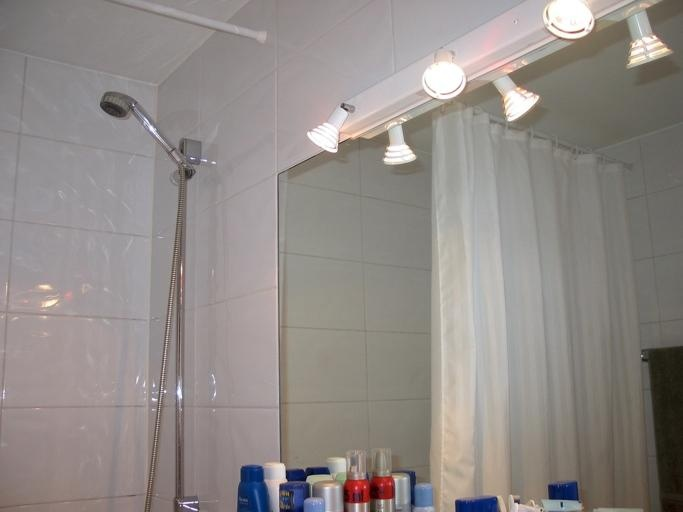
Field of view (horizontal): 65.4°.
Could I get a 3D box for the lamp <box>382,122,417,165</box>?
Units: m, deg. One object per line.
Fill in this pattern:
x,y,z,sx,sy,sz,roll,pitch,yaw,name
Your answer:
0.157,-0.312,1.499,0.103,0.124,0.104,-8,7,-29,lamp

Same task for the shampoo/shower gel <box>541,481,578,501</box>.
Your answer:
0.459,0.486,1.106,0.009,0.038,0.068,12,-22,-42,shampoo/shower gel

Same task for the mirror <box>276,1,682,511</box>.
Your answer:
0.233,0.072,1.388,0.132,1.015,1.315,11,-21,-40,mirror

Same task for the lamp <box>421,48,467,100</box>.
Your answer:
0.263,-0.437,1.330,0.108,0.109,0.117,0,-47,18,lamp
